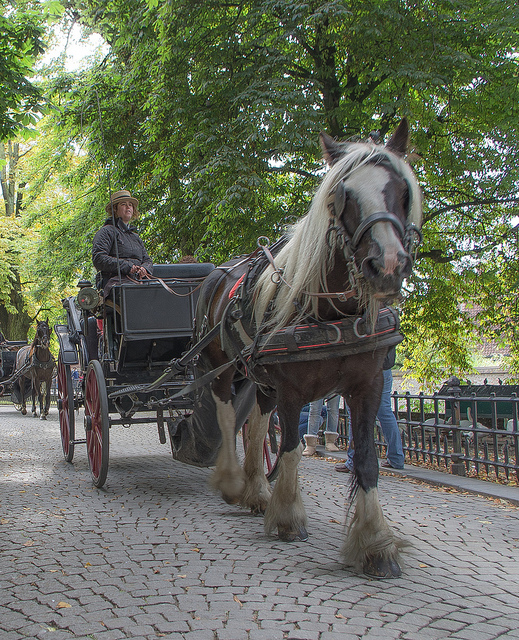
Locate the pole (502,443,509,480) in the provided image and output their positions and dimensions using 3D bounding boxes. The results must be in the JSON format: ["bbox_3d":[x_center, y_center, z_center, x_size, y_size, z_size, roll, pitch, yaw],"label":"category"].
[{"bbox_3d":[2.417,1.400,6.779,0.032,0.381,0.312,0,-5,22],"label":"pole"}]

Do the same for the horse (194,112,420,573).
[{"bbox_3d":[0.211,0.198,4.285,0.969,2.413,2.345,3,-5,-11],"label":"horse"}]

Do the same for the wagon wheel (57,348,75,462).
[{"bbox_3d":[-2.175,1.000,7.724,0.233,1.291,1.067,4,-5,-15],"label":"wagon wheel"}]

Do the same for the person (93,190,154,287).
[{"bbox_3d":[-1.312,-0.812,6.696,0.575,1.073,1.065,3,-5,-11],"label":"person"}]
